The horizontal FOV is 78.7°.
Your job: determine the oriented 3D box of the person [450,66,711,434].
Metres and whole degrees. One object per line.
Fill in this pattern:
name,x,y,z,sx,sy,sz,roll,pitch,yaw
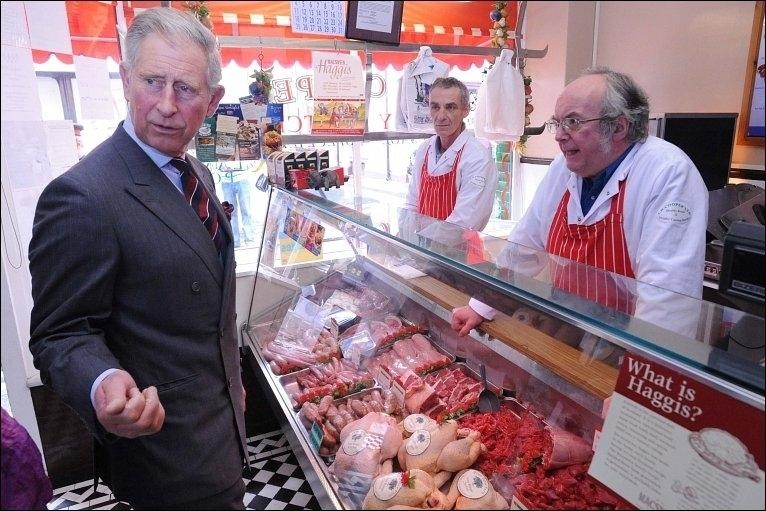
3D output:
person,1.079,-0.111,2.513,0.879,1.672,1.196,-18,22,-18

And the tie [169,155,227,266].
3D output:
tie,-0.737,-0.171,1.872,0.110,0.350,0.250,-28,-9,22

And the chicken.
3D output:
chicken,0.124,0.786,1.739,0.428,0.135,0.329,9,44,34
